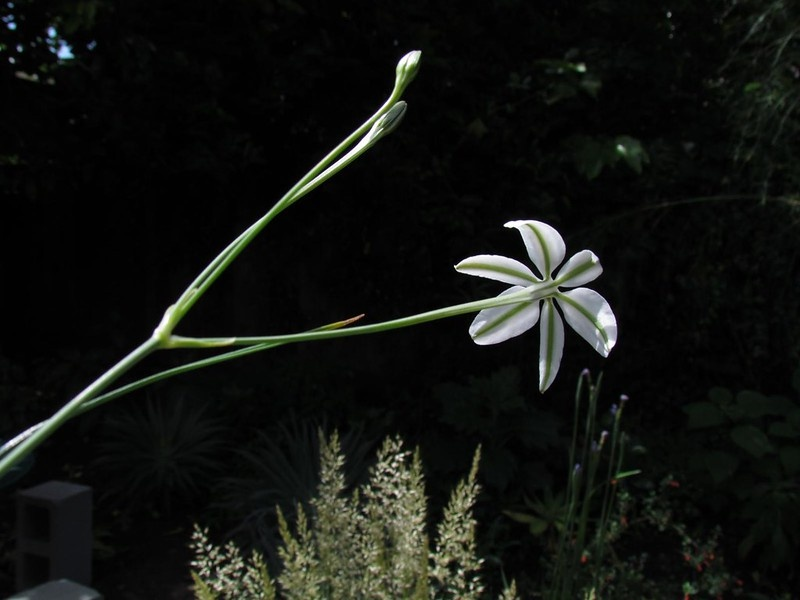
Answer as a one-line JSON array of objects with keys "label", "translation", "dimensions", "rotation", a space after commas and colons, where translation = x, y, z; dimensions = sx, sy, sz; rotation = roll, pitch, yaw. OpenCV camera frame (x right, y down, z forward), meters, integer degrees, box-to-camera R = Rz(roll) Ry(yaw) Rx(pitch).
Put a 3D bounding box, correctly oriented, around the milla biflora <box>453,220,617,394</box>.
[{"label": "milla biflora", "translation": [0.304, -0.023, 1.871], "dimensions": [0.365, 0.209, 0.415], "rotation": [14, 34, 32]}]
